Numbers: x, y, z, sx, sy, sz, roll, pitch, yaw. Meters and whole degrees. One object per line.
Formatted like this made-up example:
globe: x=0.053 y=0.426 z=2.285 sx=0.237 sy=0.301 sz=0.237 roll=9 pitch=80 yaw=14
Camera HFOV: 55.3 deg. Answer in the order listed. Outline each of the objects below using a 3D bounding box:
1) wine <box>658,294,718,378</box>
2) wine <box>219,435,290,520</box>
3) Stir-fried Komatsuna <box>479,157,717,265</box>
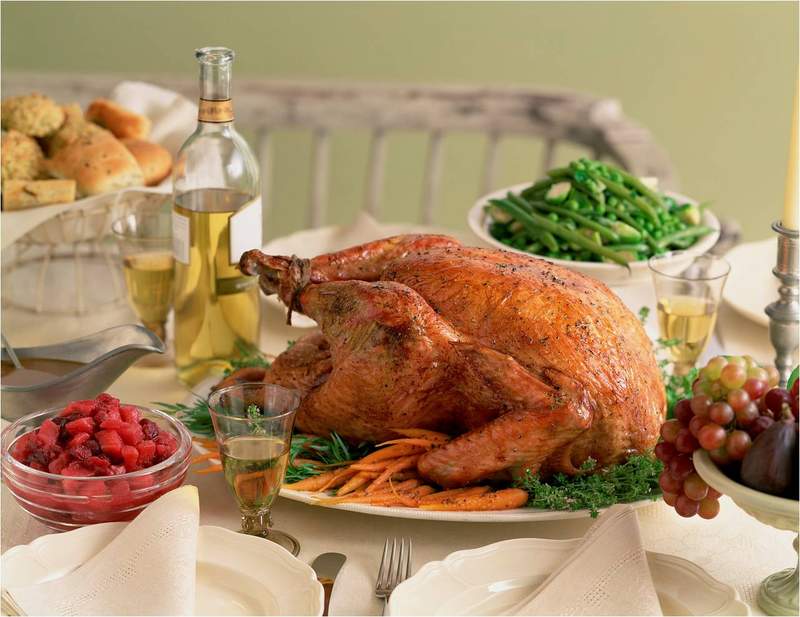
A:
wine: x=0.655 y=0.053 z=1.821 sx=0.151 sy=0.192 sz=0.122 roll=2 pitch=27 yaw=6
wine: x=-0.247 y=0.285 z=1.308 sx=0.104 sy=0.144 sz=0.043 roll=-1 pitch=17 yaw=-9
Stir-fried Komatsuna: x=0.596 y=-0.298 z=2.304 sx=0.898 sy=0.190 sz=0.816 roll=4 pitch=25 yaw=8
